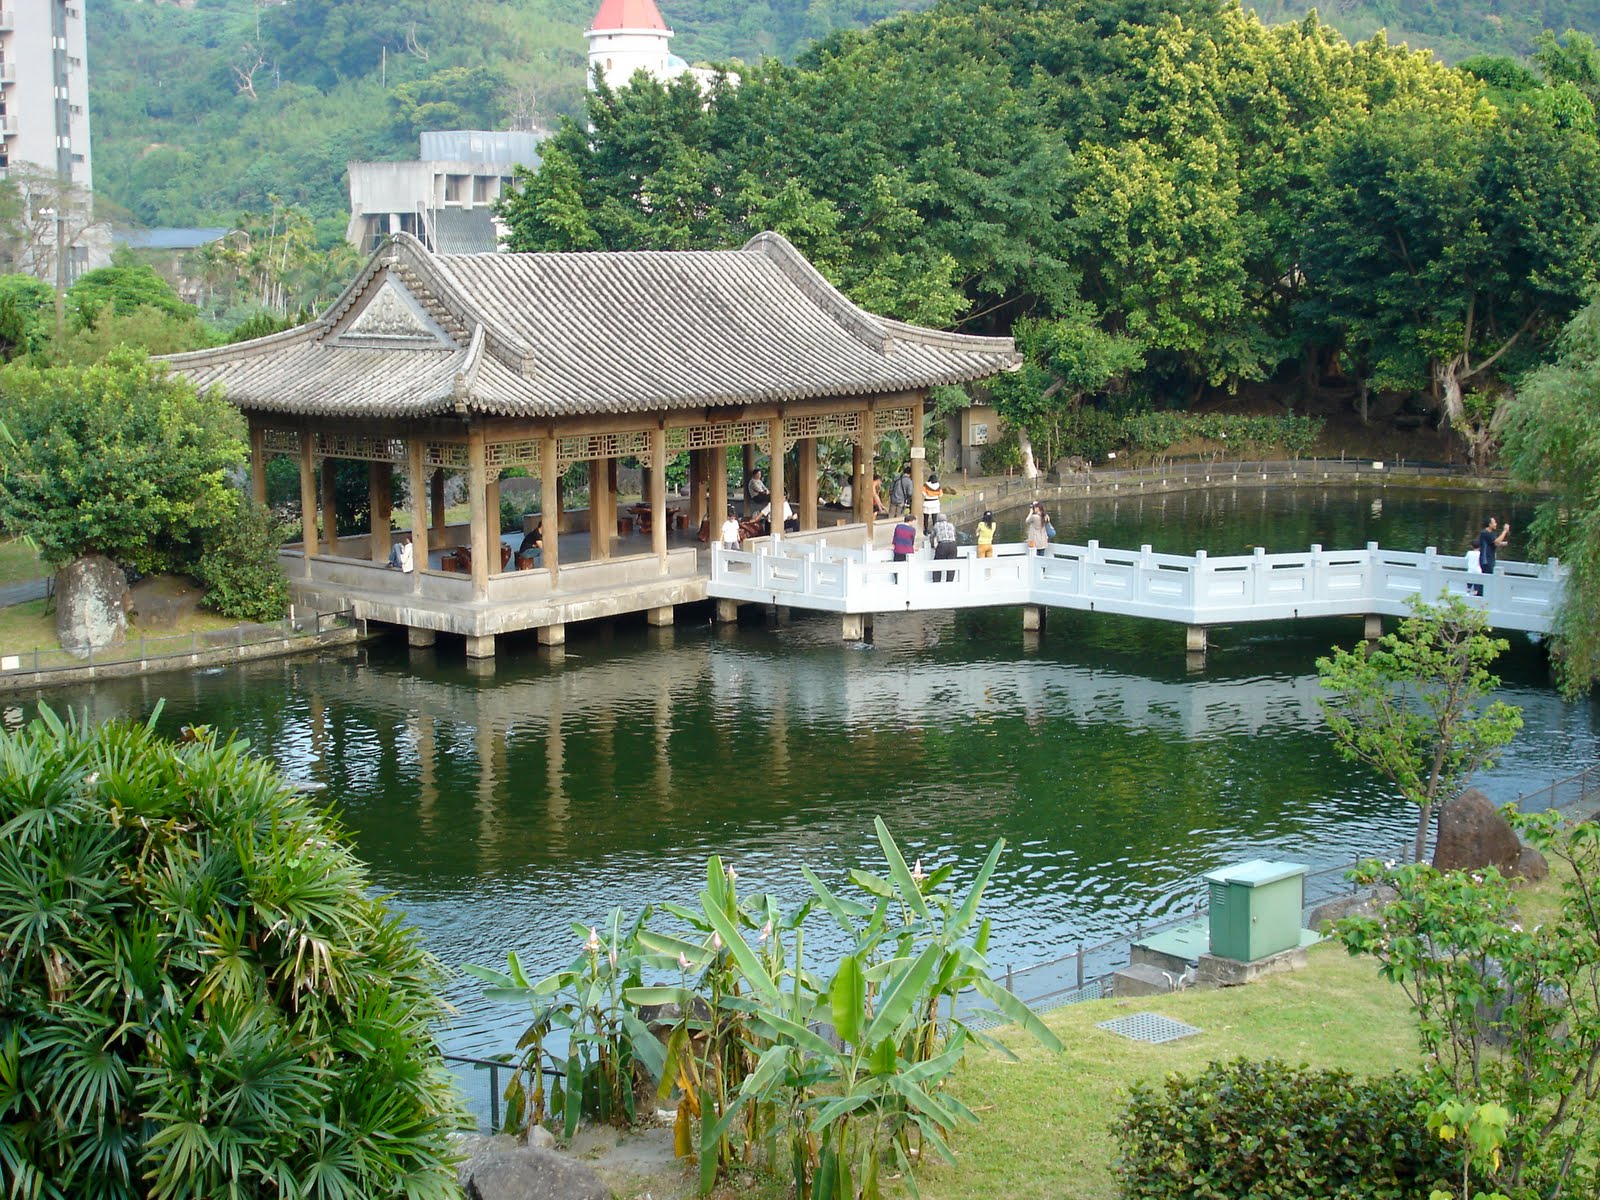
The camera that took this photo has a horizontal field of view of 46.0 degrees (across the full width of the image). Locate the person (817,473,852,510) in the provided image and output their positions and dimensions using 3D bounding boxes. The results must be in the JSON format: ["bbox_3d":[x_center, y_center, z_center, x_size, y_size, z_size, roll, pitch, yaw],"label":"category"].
[{"bbox_3d":[1.006,-2.899,50.658,1.080,0.628,0.952,11,10,40],"label":"person"}]
